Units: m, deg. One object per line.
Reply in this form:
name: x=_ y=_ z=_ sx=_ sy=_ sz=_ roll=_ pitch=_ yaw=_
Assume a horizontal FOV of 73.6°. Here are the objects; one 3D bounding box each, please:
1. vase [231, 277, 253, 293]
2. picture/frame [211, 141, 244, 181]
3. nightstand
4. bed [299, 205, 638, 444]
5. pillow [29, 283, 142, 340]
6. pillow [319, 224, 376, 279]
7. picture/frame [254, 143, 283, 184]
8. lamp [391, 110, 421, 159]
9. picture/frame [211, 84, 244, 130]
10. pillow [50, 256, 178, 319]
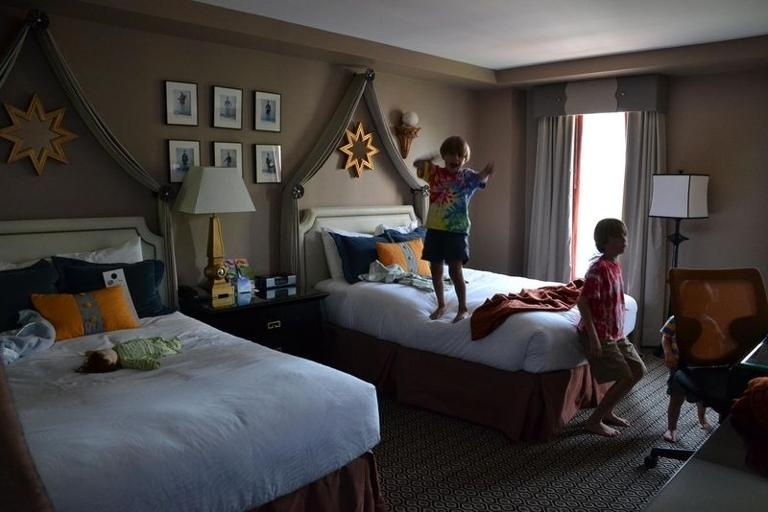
vase: x=-1.259 y=0.254 z=4.572 sx=0.124 sy=0.163 sz=0.162 roll=-1 pitch=2 yaw=37
picture/frame: x=-1.424 y=-0.852 z=4.605 sx=0.360 sy=0.446 sz=0.028 roll=-19 pitch=23 yaw=-40
nightstand: x=-1.177 y=0.396 z=4.545 sx=0.734 sy=0.936 sz=0.937 roll=7 pitch=11 yaw=43
bed: x=0.619 y=0.231 z=4.752 sx=2.578 sy=1.506 sz=1.918 roll=6 pitch=11 yaw=42
pillow: x=-2.065 y=0.404 z=3.553 sx=0.495 sy=0.349 sz=0.166 roll=-4 pitch=-34 yaw=-37
pillow: x=-0.376 y=-0.061 z=5.127 sx=0.175 sy=0.491 sz=0.486 roll=-22 pitch=-13 yaw=32
picture/frame: x=-1.141 y=-0.896 z=4.976 sx=0.388 sy=0.526 sz=0.022 roll=-4 pitch=5 yaw=-45
lamp: x=0.302 y=-1.413 z=5.981 sx=0.186 sy=0.545 sz=0.404 roll=13 pitch=20 yaw=43
picture/frame: x=-1.449 y=-1.358 z=4.719 sx=0.296 sy=0.365 sz=0.051 roll=-13 pitch=19 yaw=-39
pillow: x=-2.091 y=0.234 z=3.905 sx=0.171 sy=0.511 sz=0.592 roll=-31 pitch=-25 yaw=31
